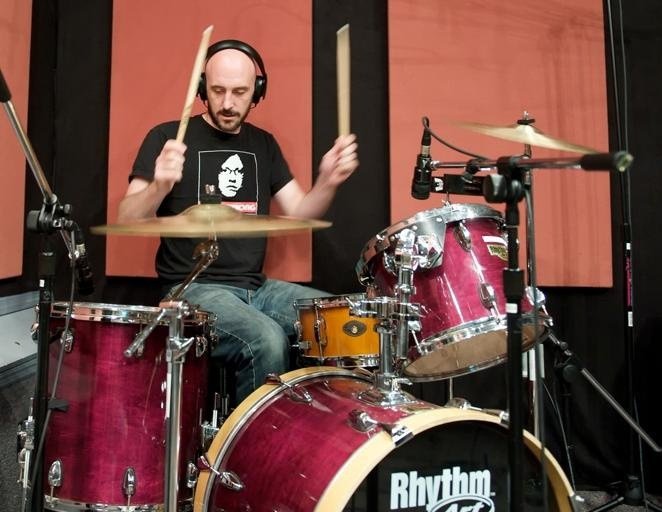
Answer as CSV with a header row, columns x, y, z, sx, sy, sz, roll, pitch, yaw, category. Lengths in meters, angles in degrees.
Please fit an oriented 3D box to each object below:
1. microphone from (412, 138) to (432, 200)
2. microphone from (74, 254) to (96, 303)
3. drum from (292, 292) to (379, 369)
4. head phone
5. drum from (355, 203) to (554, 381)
x,y,z,sx,sy,sz,roll,pitch,yaw,category
0.299,-0.283,2.360,0.063,0.205,0.196,-1,-13,8,microphone
-0.781,0.058,2.301,0.055,0.146,0.210,5,-13,-18,microphone
0.028,0.270,2.567,0.226,0.187,0.265,-1,-8,-5,drum
-0.357,-0.702,2.869,0.243,0.245,0.097,-4,16,25,head phone
0.375,0.034,2.380,0.514,0.423,0.535,-8,-33,-5,drum
